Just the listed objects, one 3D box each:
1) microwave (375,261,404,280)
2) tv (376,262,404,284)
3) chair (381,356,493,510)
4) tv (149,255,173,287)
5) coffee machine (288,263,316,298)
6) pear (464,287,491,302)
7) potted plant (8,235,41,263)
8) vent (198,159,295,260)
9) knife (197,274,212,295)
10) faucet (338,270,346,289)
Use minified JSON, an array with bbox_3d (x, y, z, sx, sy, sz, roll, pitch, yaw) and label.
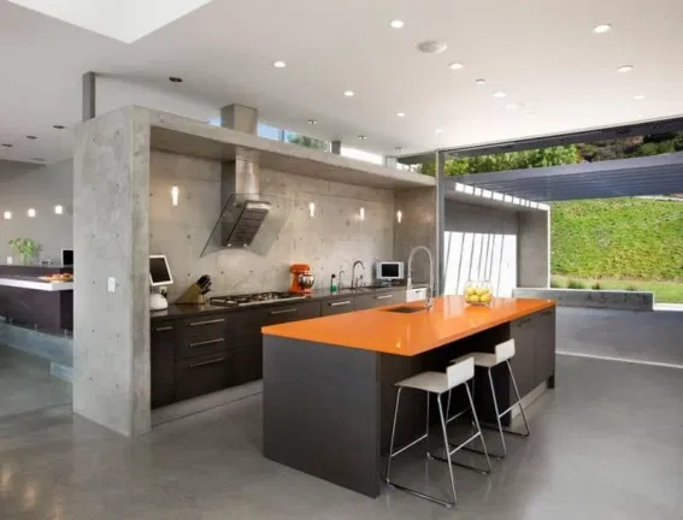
[{"bbox_3d":[0.837,0.183,8.363,0.497,0.291,0.345,2,-3,3],"label":"microwave"},{"bbox_3d":[0.841,0.204,8.194,0.535,0.312,0.388,2,-2,3],"label":"tv"},{"bbox_3d":[0.775,1.164,4.076,0.866,1.481,1.039,0,-1,34],"label":"chair"},{"bbox_3d":[-1.976,0.119,5.233,0.025,0.372,0.359,-18,-10,25],"label":"tv"},{"bbox_3d":[-0.608,0.283,6.839,0.436,0.479,0.279,-3,-3,41],"label":"coffee machine"},{"bbox_3d":[1.419,0.346,4.984,0.188,0.119,0.192,0,0,9],"label":"pear"},{"bbox_3d":[-7.070,-0.239,10.791,0.596,0.618,0.525,-2,-4,41],"label":"potted plant"},{"bbox_3d":[-1.132,-0.690,5.952,0.735,1.140,1.207,-1,0,28],"label":"vent"},{"bbox_3d":[-1.652,0.287,5.714,0.063,0.225,0.170,-5,-35,35],"label":"knife"},{"bbox_3d":[0.011,0.309,7.860,0.108,0.262,0.272,0,6,1],"label":"faucet"}]
